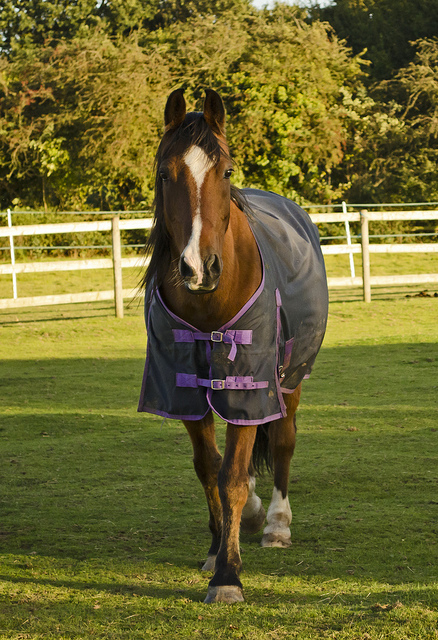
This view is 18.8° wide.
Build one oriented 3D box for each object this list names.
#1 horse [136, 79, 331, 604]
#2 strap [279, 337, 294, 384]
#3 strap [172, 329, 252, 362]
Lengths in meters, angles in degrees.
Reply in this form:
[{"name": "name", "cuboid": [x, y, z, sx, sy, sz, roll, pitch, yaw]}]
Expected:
[{"name": "horse", "cuboid": [0.168, 0.210, 8.783, 0.879, 3.010, 3.535, 0, 0, 13]}, {"name": "strap", "cuboid": [0.416, 0.282, 8.213, 0.050, 0.334, 0.039, -1, 25, -29]}, {"name": "strap", "cuboid": [-0.042, 0.154, 7.815, 0.473, 0.185, 0.085, -1, 2, 17]}]
